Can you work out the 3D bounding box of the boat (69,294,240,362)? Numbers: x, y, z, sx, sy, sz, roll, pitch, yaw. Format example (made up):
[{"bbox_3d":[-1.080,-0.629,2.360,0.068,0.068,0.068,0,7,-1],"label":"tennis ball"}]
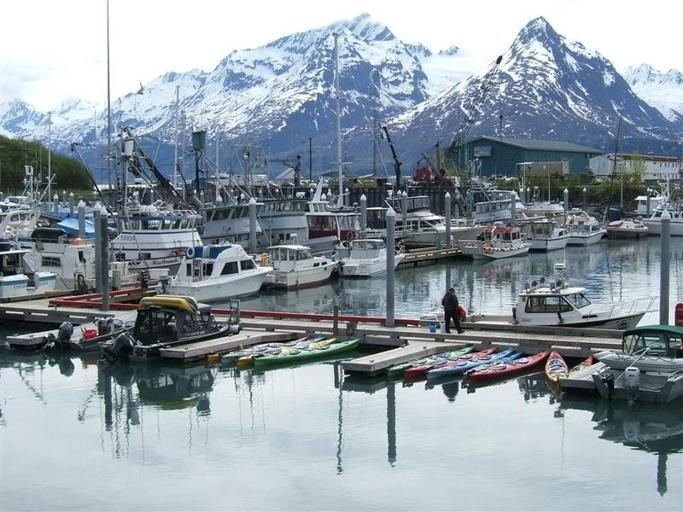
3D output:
[{"bbox_3d":[-6.416,2.675,40.570,4.929,2.199,3.179,-3,2,17],"label":"boat"}]

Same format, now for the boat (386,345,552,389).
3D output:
[{"bbox_3d":[4.572,4.503,38.122,5.926,0.849,1.914,-9,15,-25],"label":"boat"}]

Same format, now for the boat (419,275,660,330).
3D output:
[{"bbox_3d":[9.042,1.752,41.844,8.021,1.866,4.584,-4,3,-28],"label":"boat"}]

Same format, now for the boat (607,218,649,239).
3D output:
[{"bbox_3d":[24.471,-2.236,94.862,4.081,1.510,2.208,-4,3,-33],"label":"boat"}]

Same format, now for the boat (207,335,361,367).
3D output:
[{"bbox_3d":[-1.997,3.487,40.137,5.234,0.732,1.277,-3,2,-17],"label":"boat"}]
